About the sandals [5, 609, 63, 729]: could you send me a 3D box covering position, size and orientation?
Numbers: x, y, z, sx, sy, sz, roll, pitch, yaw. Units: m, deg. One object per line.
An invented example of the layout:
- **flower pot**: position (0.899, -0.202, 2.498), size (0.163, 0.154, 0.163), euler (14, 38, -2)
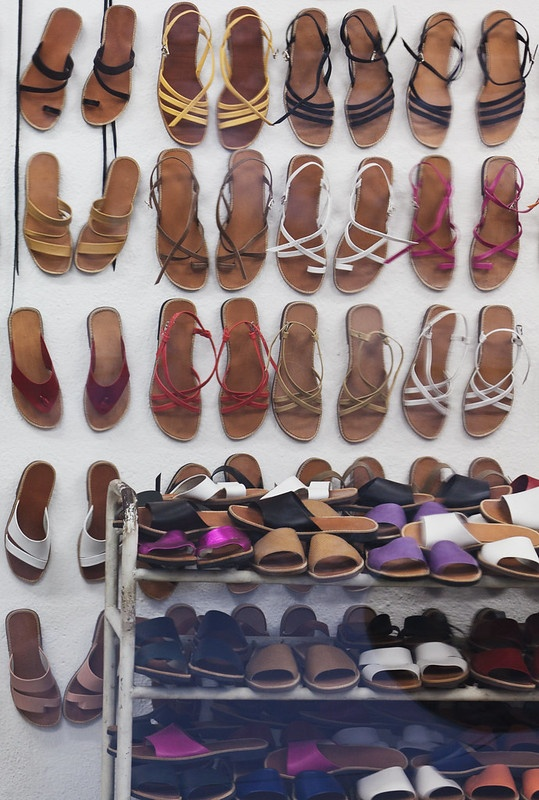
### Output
- **sandals**: position (-0.607, 0.682, 2.024), size (0.132, 0.076, 0.310), euler (-12, -86, -2)

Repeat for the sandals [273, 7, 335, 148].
- **sandals**: position (0.099, -0.863, 2.051), size (0.138, 0.085, 0.352), euler (-1, -82, -1)

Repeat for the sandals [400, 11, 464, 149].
- **sandals**: position (0.440, -0.876, 2.125), size (0.188, 0.086, 0.344), euler (5, -81, -6)

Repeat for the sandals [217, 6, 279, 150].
- **sandals**: position (-0.066, -0.860, 2.032), size (0.153, 0.080, 0.364), euler (-1, -79, -6)

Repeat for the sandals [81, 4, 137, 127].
- **sandals**: position (-0.407, -0.875, 1.999), size (0.126, 0.085, 0.327), euler (5, -78, -6)

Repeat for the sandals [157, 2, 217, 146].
- **sandals**: position (-0.223, -0.858, 2.059), size (0.154, 0.089, 0.361), euler (-2, -83, -5)

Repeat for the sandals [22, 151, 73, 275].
- **sandals**: position (-0.569, -0.474, 1.986), size (0.129, 0.084, 0.318), euler (-3, -85, -5)

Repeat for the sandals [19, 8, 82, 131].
- **sandals**: position (-0.583, -0.840, 2.045), size (0.132, 0.084, 0.340), euler (13, -82, -9)

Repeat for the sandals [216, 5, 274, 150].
- **sandals**: position (-0.071, -0.859, 2.031), size (0.152, 0.080, 0.365), euler (-1, -79, -6)

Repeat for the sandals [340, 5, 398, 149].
- **sandals**: position (0.264, -0.871, 2.065), size (0.155, 0.085, 0.362), euler (-7, -81, -4)

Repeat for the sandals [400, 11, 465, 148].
- **sandals**: position (0.434, -0.864, 2.093), size (0.189, 0.085, 0.344), euler (5, -81, -6)

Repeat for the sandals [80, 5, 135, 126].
- **sandals**: position (-0.409, -0.866, 1.949), size (0.126, 0.084, 0.325), euler (5, -78, -6)

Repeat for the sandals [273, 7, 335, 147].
- **sandals**: position (0.104, -0.866, 2.100), size (0.137, 0.088, 0.351), euler (-1, -83, -1)

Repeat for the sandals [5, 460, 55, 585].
- **sandals**: position (-0.616, 0.307, 1.971), size (0.130, 0.074, 0.300), euler (7, -90, -19)

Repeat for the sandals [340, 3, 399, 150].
- **sandals**: position (0.270, -0.868, 2.067), size (0.155, 0.083, 0.363), euler (-7, -81, -4)

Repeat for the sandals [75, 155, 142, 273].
- **sandals**: position (-0.417, -0.481, 2.004), size (0.131, 0.088, 0.334), euler (14, -81, -8)

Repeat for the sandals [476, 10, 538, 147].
- **sandals**: position (0.645, -0.873, 2.089), size (0.154, 0.099, 0.370), euler (-3, -80, -2)
